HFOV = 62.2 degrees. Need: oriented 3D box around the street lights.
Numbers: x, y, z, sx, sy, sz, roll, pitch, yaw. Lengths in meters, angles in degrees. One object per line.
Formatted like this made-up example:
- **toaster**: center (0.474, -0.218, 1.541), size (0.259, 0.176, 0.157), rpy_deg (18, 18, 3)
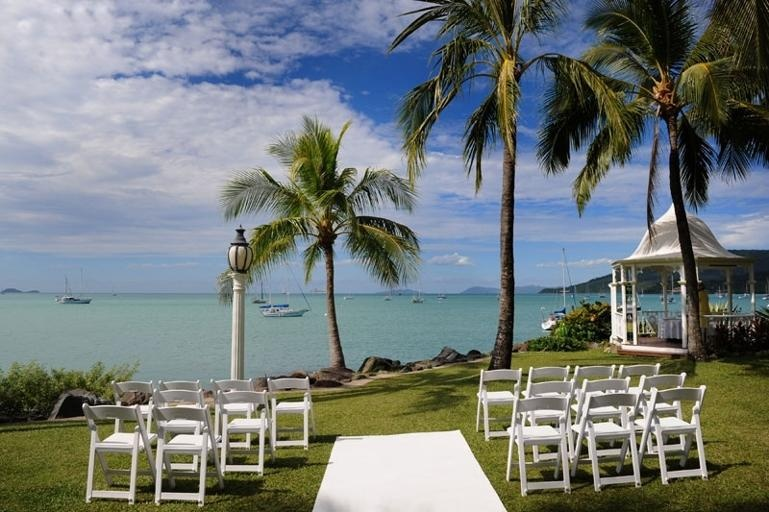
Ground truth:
- **street lights**: center (-3.974, 1.241, 17.496), size (0.629, 4.126, 0.899), rpy_deg (-1, -7, -14)
